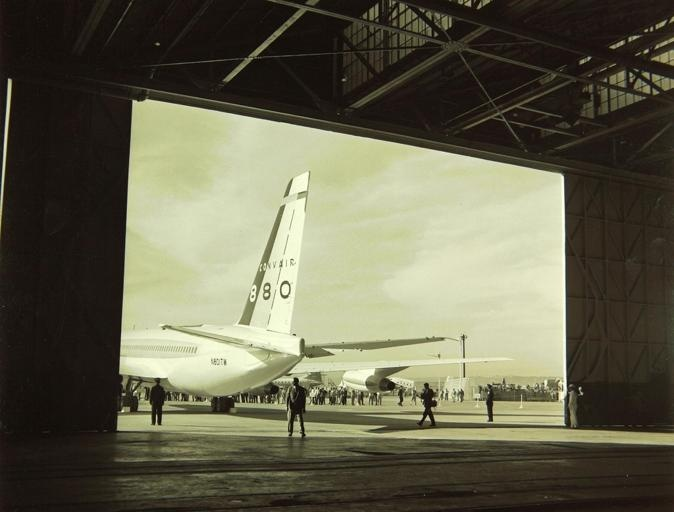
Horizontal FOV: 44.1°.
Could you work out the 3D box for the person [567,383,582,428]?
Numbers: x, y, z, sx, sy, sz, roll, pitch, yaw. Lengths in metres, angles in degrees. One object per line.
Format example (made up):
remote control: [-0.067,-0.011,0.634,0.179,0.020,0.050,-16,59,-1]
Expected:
person: [9.619,6.008,33.599,0.587,1.773,1.565,-1,-13,15]
